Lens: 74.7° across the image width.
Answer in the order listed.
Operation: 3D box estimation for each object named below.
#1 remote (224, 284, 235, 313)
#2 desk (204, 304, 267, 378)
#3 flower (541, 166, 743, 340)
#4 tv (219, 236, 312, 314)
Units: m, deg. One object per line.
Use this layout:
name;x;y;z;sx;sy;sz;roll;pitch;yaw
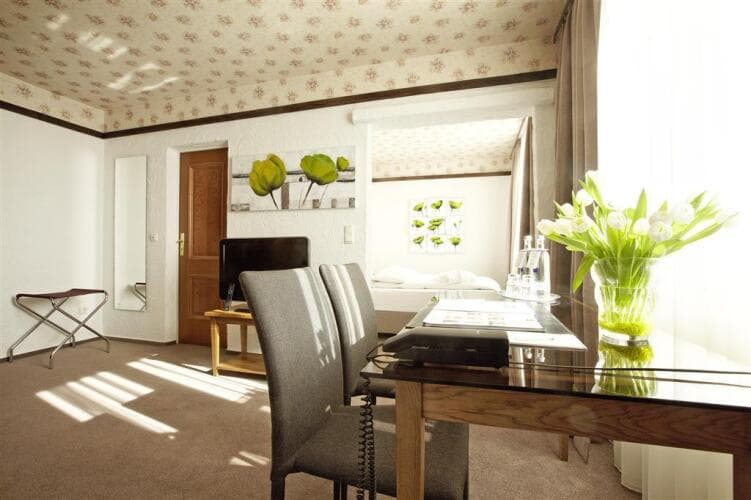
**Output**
remote;-1.404;0.465;4.754;0.075;0.268;0.091;11;-11;3
desk;-1.257;0.936;4.909;0.641;0.534;0.758;3;-4;-8
flower;1.389;0.055;2.830;1.005;0.821;0.849;-3;-4;26
tv;-0.845;0.169;3.781;0.778;0.517;0.248;-1;-6;9
